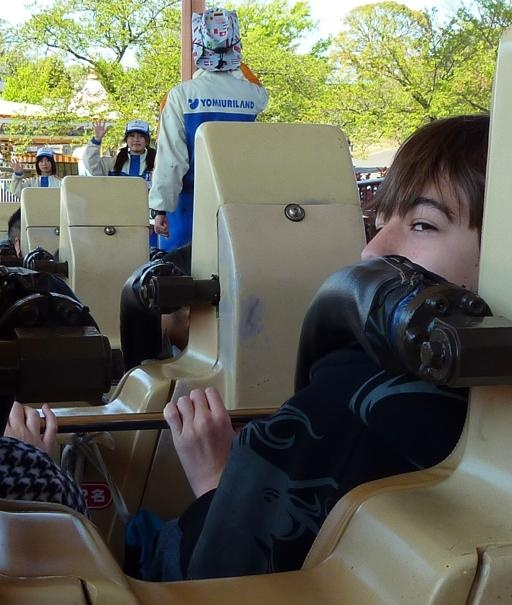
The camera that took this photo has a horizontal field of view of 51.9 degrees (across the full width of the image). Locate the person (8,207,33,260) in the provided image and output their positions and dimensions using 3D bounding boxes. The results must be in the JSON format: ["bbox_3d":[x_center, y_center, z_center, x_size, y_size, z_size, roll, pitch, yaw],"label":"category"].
[{"bbox_3d":[-1.956,-0.585,4.262,0.114,0.341,1.130,-6,12,-24],"label":"person"}]

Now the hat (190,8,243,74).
[{"bbox_3d":[-0.229,-1.560,3.099,0.343,0.450,0.154,0,-25,-6],"label":"hat"}]

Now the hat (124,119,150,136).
[{"bbox_3d":[-1.081,-1.585,4.774,0.216,0.151,0.269,-3,11,-13],"label":"hat"}]
